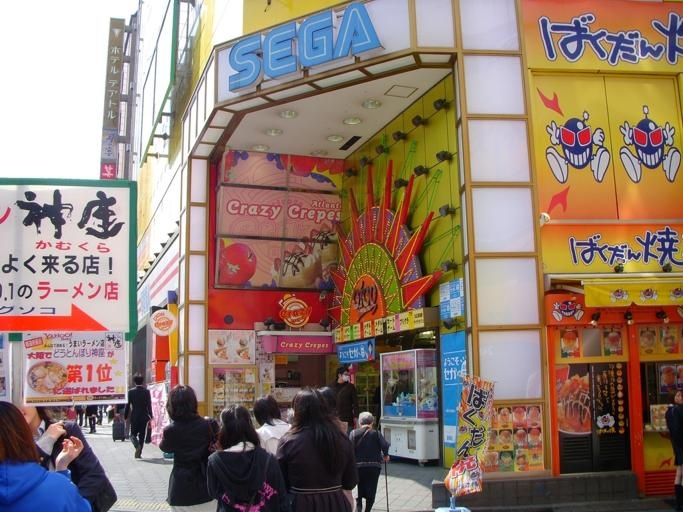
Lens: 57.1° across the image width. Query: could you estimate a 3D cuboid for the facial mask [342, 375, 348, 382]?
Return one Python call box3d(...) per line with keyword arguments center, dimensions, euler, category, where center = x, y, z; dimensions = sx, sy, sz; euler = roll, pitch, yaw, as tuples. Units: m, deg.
box3d(center=(0.049, 2.177, 11.193), dimensions=(0.095, 0.100, 0.126), euler=(-3, -40, 1), category="facial mask")
